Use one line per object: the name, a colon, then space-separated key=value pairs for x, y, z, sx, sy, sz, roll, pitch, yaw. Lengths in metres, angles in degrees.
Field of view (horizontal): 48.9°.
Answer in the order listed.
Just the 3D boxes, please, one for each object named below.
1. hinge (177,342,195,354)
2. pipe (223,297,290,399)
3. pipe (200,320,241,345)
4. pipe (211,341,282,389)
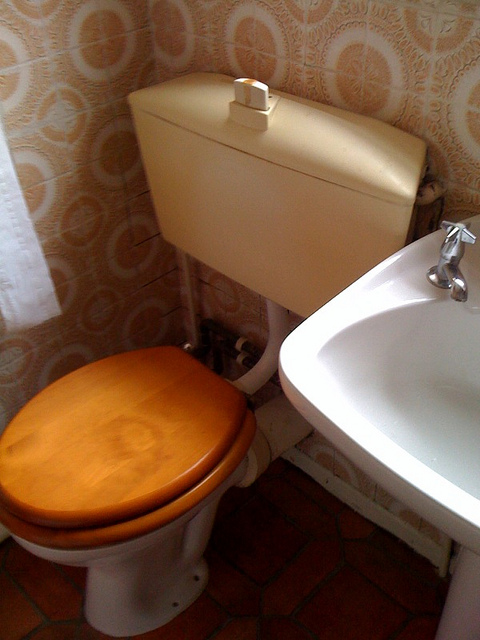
hinge: x=-0.138 y=0.069 z=1.385 sx=0.035 sy=0.014 sz=0.047 roll=-37 pitch=41 yaw=-22
pipe: x=0.036 y=0.052 z=1.074 sx=0.185 sy=0.202 sz=0.039 roll=-39 pitch=54 yaw=-9
pipe: x=-0.045 y=0.027 z=1.296 sx=0.087 sy=0.029 sz=0.015 roll=35 pitch=61 yaw=31
pipe: x=0.017 y=0.092 z=1.134 sx=0.026 sy=0.074 sz=0.180 roll=-38 pitch=59 yaw=-24
